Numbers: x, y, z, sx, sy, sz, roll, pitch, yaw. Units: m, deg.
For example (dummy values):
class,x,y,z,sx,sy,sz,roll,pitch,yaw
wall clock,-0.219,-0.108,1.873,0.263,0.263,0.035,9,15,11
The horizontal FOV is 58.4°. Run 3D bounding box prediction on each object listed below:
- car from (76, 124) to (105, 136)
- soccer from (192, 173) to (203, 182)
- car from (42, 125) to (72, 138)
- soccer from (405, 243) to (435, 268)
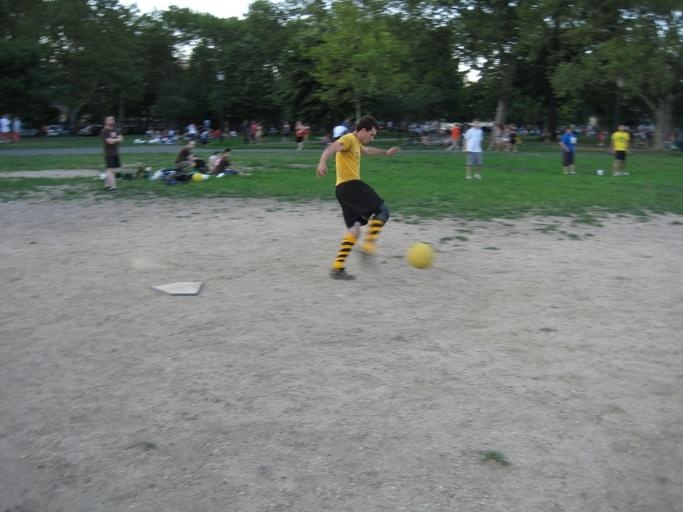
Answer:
class,x,y,z,sx,sy,sz,roll,pitch,yaw
car,-25.748,-12.850,62.555,2.135,1.233,4.560,-2,9,-20
soccer,-4.665,-2.558,19.945,0.436,0.182,0.331,0,1,-4
car,-30.258,-13.203,64.705,3.137,0.898,3.828,-8,20,-28
soccer,1.149,0.011,8.804,0.339,0.355,0.333,4,11,9
